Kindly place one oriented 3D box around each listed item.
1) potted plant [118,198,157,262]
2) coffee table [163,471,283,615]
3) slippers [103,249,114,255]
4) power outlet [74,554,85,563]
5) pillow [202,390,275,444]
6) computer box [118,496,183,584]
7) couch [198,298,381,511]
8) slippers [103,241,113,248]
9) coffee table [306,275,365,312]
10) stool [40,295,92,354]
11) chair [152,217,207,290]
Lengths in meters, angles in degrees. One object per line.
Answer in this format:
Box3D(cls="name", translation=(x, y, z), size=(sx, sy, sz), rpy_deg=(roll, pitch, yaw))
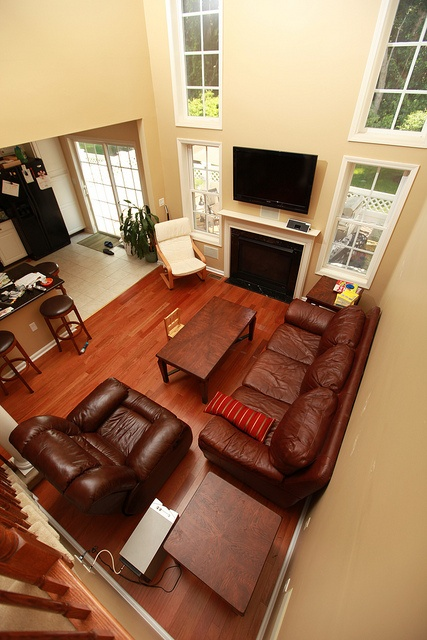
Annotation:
Box3D(cls="potted plant", translation=(-1.092, -1.258, 5.419), size=(0.478, 0.765, 0.459), rpy_deg=(23, 21, 35))
Box3D(cls="coffee table", translation=(0.077, 1.335, 2.449), size=(0.553, 0.543, 0.572), rpy_deg=(25, 57, 24))
Box3D(cls="slippers", translation=(-1.687, -1.083, 6.168), size=(0.176, 0.037, 0.086), rpy_deg=(32, 56, 33))
Box3D(cls="power outlet", translation=(-0.859, 1.494, 2.464), size=(0.039, 0.010, 0.036), rpy_deg=(25, 28, 35))
Box3D(cls="pillow", translation=(0.171, 0.668, 2.812), size=(0.421, 0.105, 0.250), rpy_deg=(28, 54, 26))
Box3D(cls="computer box", translation=(-0.380, 1.372, 2.493), size=(0.235, 0.227, 0.445), rpy_deg=(22, 66, 24))
Box3D(cls="couch", translation=(0.492, 0.567, 2.682), size=(0.615, 0.509, 1.418), rpy_deg=(22, 49, 25))
Box3D(cls="slippers", translation=(-1.737, -1.228, 6.366), size=(0.144, 0.050, 0.094), rpy_deg=(28, 56, 32))
Box3D(cls="coffee table", translation=(1.211, -0.299, 4.028), size=(0.391, 0.389, 0.405), rpy_deg=(19, 58, 19))
Box3D(cls="stool", translation=(-1.620, 0.075, 4.205), size=(0.450, 0.811, 0.470), rpy_deg=(0, 50, -1))
Box3D(cls="chair", translation=(-0.456, -0.862, 5.212), size=(0.579, 0.744, 0.648), rpy_deg=(-25, 46, -24))
